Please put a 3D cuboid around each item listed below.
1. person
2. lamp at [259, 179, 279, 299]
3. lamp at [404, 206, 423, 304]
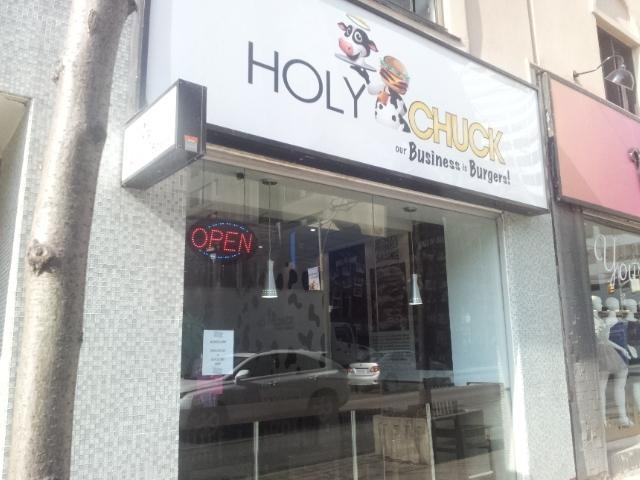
[{"bbox_3d":[3.473,1.430,6.607,0.277,1.522,1.005,-14,-18,38],"label":"person"},{"bbox_3d":[-0.406,-0.026,4.409,0.152,0.968,0.037,7,-17,-36],"label":"lamp"},{"bbox_3d":[0.927,0.240,5.510,0.103,0.801,0.241,-13,-17,33],"label":"lamp"}]
